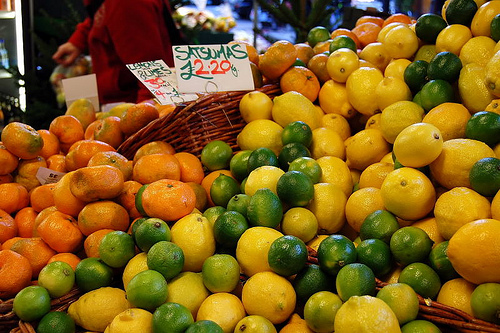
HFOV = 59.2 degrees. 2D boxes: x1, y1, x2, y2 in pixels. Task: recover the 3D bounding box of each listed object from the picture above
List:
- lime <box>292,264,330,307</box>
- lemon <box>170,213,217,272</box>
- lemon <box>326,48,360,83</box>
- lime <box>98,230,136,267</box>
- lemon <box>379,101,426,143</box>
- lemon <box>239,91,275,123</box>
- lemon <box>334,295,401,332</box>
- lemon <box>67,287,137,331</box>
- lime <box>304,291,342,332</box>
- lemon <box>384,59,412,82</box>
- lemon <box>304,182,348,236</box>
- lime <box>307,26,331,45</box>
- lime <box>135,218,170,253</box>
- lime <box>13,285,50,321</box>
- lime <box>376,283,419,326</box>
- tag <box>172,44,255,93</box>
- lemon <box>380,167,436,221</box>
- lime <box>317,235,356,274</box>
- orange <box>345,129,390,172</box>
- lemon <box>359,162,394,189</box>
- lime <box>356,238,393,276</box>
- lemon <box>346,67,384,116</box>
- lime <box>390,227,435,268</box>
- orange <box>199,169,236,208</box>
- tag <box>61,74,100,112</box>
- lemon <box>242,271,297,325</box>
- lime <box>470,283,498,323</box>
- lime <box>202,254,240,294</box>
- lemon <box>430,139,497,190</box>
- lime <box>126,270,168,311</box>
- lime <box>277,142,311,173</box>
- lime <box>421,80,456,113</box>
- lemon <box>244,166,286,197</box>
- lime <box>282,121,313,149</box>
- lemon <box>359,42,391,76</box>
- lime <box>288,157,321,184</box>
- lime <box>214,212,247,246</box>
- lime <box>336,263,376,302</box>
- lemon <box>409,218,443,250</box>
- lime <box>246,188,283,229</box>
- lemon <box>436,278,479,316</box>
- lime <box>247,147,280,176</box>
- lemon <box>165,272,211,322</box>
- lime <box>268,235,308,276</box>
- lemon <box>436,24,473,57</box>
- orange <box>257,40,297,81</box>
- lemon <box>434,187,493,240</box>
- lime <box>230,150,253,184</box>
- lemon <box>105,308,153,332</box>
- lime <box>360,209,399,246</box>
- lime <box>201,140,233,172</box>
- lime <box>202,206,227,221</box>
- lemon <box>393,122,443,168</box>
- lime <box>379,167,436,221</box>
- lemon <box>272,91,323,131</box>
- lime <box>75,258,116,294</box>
[{"bbox_3d":[0.340,0.616,2.328,0.181,0.189,0.230,4,71,23],"label":"lime"},{"bbox_3d":[-0.260,0.418,2.486,0.271,0.341,0.267,4,-4,-2],"label":"lemon"},{"bbox_3d":[0.624,-0.709,3.058,0.210,0.215,0.259,2,71,4],"label":"lemon"},{"bbox_3d":[-0.716,0.445,2.453,0.176,0.186,0.179,-12,-8,-3],"label":"lime"},{"bbox_3d":[0.912,-0.245,2.774,0.235,0.271,0.265,4,-1,-15],"label":"lemon"},{"bbox_3d":[0.035,-0.398,3.154,0.221,0.275,0.223,3,-8,-31],"label":"lemon"},{"bbox_3d":[0.522,0.670,1.975,0.285,0.138,0.139,3,37,10],"label":"lemon"},{"bbox_3d":[-0.764,0.715,2.297,0.297,0.195,0.203,1,1,0],"label":"lemon"},{"bbox_3d":[0.324,0.669,2.122,0.164,0.200,0.174,3,6,-1],"label":"lime"},{"bbox_3d":[0.968,-0.647,2.992,0.151,0.184,0.146,4,12,-17],"label":"lemon"},{"bbox_3d":[0.401,0.256,2.649,0.266,0.276,0.322,0,60,2],"label":"lemon"},{"bbox_3d":[0.584,-1.130,3.735,0.153,0.159,0.195,5,69,2],"label":"lime"},{"bbox_3d":[-0.498,0.337,2.395,0.158,0.160,0.186,-18,2,14],"label":"lime"},{"bbox_3d":[-1.094,0.697,2.219,0.169,0.133,0.134,-20,39,-19],"label":"lime"},{"bbox_3d":[0.700,0.622,2.090,0.178,0.188,0.173,-3,0,-6],"label":"lime"},{"bbox_3d":[-0.266,-0.711,3.183,0.519,0.373,0.358,-4,-4,-4],"label":"tag"},{"bbox_3d":[0.879,0.135,2.466,0.263,0.334,0.286,-16,58,18],"label":"lemon"},{"bbox_3d":[0.480,0.438,2.272,0.175,0.215,0.178,-3,-1,-19],"label":"lime"},{"bbox_3d":[0.731,-0.110,2.914,0.293,0.238,0.226,-27,-7,18],"label":"orange"},{"bbox_3d":[0.731,0.040,2.678,0.154,0.163,0.189,16,15,-12],"label":"lemon"},{"bbox_3d":[0.640,0.493,2.321,0.177,0.217,0.180,1,29,11],"label":"lime"},{"bbox_3d":[0.767,-0.529,3.055,0.257,0.328,0.251,5,-11,-38],"label":"lemon"},{"bbox_3d":[0.830,0.395,2.328,0.200,0.210,0.172,-6,23,37],"label":"lime"},{"bbox_3d":[-0.223,0.165,2.946,0.223,0.234,0.227,-2,-13,-11],"label":"orange"},{"bbox_3d":[-1.529,-0.711,4.006,0.345,0.365,0.094,-10,14,-9],"label":"tag"},{"bbox_3d":[0.097,0.623,2.252,0.253,0.260,0.243,3,0,5],"label":"lemon"},{"bbox_3d":[1.089,0.634,2.061,0.117,0.156,0.150,11,40,21],"label":"lime"},{"bbox_3d":[-0.151,0.545,2.242,0.180,0.190,0.183,1,-14,-6],"label":"lime"},{"bbox_3d":[1.100,-0.017,2.402,0.237,0.240,0.297,-51,16,-26],"label":"lemon"},{"bbox_3d":[-0.526,0.617,2.228,0.208,0.215,0.189,11,2,-23],"label":"lime"},{"bbox_3d":[0.258,-0.108,2.813,0.184,0.231,0.195,6,17,26],"label":"lime"},{"bbox_3d":[1.087,-0.429,2.667,0.172,0.216,0.175,-15,4,14],"label":"lime"},{"bbox_3d":[0.079,0.088,2.640,0.182,0.188,0.175,7,48,-44],"label":"lemon"},{"bbox_3d":[0.287,-0.205,2.885,0.176,0.184,0.178,10,-11,-40],"label":"lime"},{"bbox_3d":[0.892,-0.813,3.231,0.203,0.208,0.249,35,28,2],"label":"lemon"},{"bbox_3d":[0.318,0.033,2.699,0.156,0.158,0.193,15,57,-32],"label":"lime"},{"bbox_3d":[-0.111,0.333,2.461,0.172,0.176,0.167,-31,-19,22],"label":"lime"},{"bbox_3d":[0.494,0.595,2.171,0.207,0.198,0.211,6,-18,-19],"label":"lime"},{"bbox_3d":[0.954,0.345,2.359,0.136,0.172,0.143,-13,-1,2],"label":"lemon"},{"bbox_3d":[0.080,0.234,2.503,0.185,0.246,0.206,-4,-4,21],"label":"lime"},{"bbox_3d":[0.992,0.623,2.183,0.156,0.168,0.150,-3,28,-7],"label":"lemon"},{"bbox_3d":[0.074,-0.051,2.701,0.149,0.151,0.183,1,63,3],"label":"lime"},{"bbox_3d":[-0.304,0.672,2.292,0.207,0.210,0.262,4,61,-8],"label":"lemon"},{"bbox_3d":[0.188,0.427,2.280,0.222,0.184,0.189,10,50,-58],"label":"lime"},{"bbox_3d":[1.288,-0.791,2.778,0.187,0.161,0.156,-52,22,-5],"label":"lemon"},{"bbox_3d":[0.197,-0.767,3.258,0.168,0.300,0.227,38,39,-13],"label":"orange"},{"bbox_3d":[1.045,0.214,2.326,0.284,0.261,0.263,21,-9,0],"label":"lemon"},{"bbox_3d":[-0.084,-0.008,2.879,0.161,0.206,0.165,3,26,-8],"label":"lime"},{"bbox_3d":[-0.582,0.733,2.110,0.131,0.168,0.142,-9,-7,16],"label":"lemon"},{"bbox_3d":[0.710,0.345,2.416,0.174,0.180,0.216,-27,51,37],"label":"lime"},{"bbox_3d":[-0.215,-0.077,3.039,0.183,0.208,0.199,6,51,6],"label":"lime"},{"bbox_3d":[-0.212,0.273,2.568,0.079,0.090,0.088,-2,-6,2],"label":"lime"},{"bbox_3d":[0.925,-0.095,2.442,0.239,0.243,0.290,3,68,15],"label":"lemon"},{"bbox_3d":[0.852,0.163,2.397,0.274,0.268,0.193,14,41,24],"label":"lime"},{"bbox_3d":[0.300,-0.382,3.099,0.299,0.221,0.232,34,69,3],"label":"lemon"},{"bbox_3d":[-0.830,0.578,2.418,0.180,0.190,0.177,-25,50,-3],"label":"lime"}]
